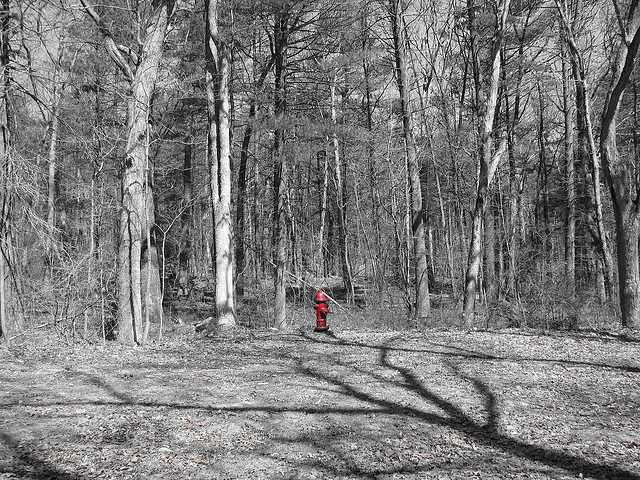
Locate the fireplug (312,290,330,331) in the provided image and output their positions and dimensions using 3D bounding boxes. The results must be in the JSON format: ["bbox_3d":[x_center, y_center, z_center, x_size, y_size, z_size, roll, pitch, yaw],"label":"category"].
[{"bbox_3d":[0.000,1.862,18.260,0.350,1.091,1.035,0,-1,1],"label":"fireplug"}]
